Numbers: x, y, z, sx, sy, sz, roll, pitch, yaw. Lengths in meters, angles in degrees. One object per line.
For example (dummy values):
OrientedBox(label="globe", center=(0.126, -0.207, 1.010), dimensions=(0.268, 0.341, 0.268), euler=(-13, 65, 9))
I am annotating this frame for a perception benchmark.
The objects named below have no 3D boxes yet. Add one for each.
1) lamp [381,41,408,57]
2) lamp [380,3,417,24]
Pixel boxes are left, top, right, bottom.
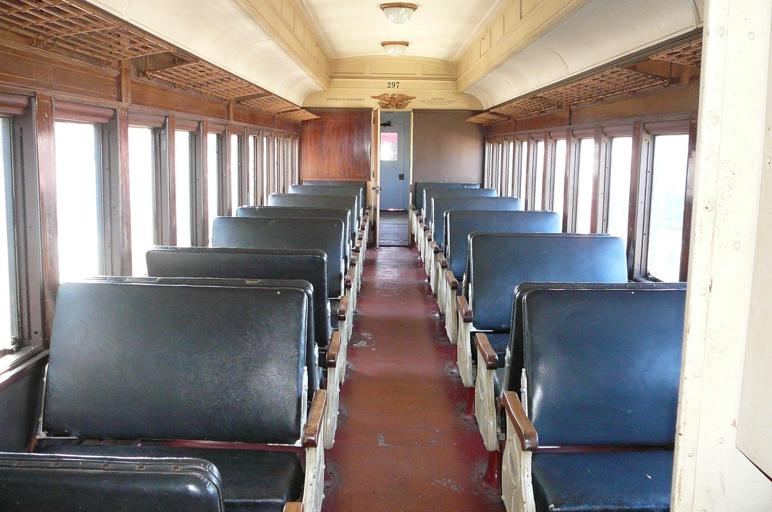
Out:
OrientedBox(label="lamp", center=(0.179, -3.879, 10.907), dimensions=(0.507, 0.202, 0.506), euler=(1, -4, 3))
OrientedBox(label="lamp", center=(0.178, -3.379, 8.178), dimensions=(0.391, 0.148, 0.372), euler=(0, 2, 0))
